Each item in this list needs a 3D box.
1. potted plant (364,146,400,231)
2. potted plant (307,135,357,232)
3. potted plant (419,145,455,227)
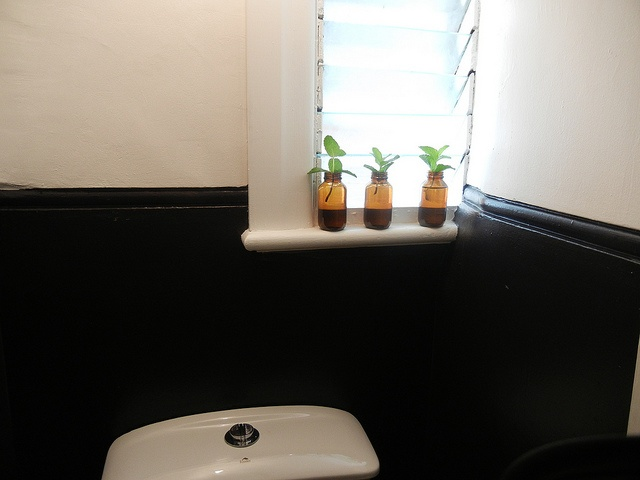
[{"bbox_3d":[0.150,-0.122,1.322,0.081,0.188,0.086,1,-11,4],"label":"potted plant"},{"bbox_3d":[0.030,-0.130,1.303,0.093,0.217,0.113,-6,-13,34],"label":"potted plant"},{"bbox_3d":[0.287,-0.132,1.346,0.082,0.199,0.132,0,-11,10],"label":"potted plant"}]
